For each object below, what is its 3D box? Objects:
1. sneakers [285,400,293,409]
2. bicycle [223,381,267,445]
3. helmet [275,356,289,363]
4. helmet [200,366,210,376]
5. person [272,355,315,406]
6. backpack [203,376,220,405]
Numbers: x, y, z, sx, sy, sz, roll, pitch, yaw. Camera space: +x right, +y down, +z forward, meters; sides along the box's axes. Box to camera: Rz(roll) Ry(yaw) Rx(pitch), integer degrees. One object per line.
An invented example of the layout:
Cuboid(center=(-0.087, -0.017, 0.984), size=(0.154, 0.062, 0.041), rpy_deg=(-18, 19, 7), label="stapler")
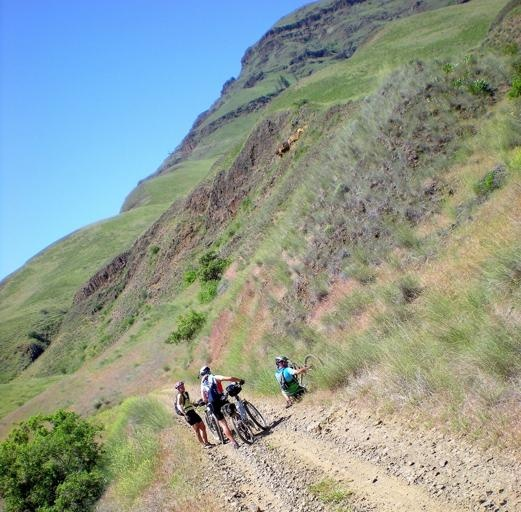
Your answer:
Cuboid(center=(0.623, 3.269, 11.354), size=(0.096, 0.186, 0.171), rpy_deg=(-4, 22, -3), label="sneakers")
Cuboid(center=(-0.368, 3.320, 10.849), size=(0.637, 0.873, 1.440), rpy_deg=(-33, -21, -34), label="bicycle")
Cuboid(center=(0.449, 2.201, 10.977), size=(0.364, 0.172, 0.447), rpy_deg=(1, -9, 1), label="helmet")
Cuboid(center=(-1.178, 2.454, 11.008), size=(0.153, 0.209, 0.210), rpy_deg=(0, 24, -9), label="helmet")
Cuboid(center=(0.746, 2.631, 10.914), size=(0.636, 1.252, 0.609), rpy_deg=(-15, 9, 4), label="person")
Cuboid(center=(-1.031, 2.830, 10.914), size=(0.401, 0.667, 0.334), rpy_deg=(-11, -5, -9), label="backpack")
